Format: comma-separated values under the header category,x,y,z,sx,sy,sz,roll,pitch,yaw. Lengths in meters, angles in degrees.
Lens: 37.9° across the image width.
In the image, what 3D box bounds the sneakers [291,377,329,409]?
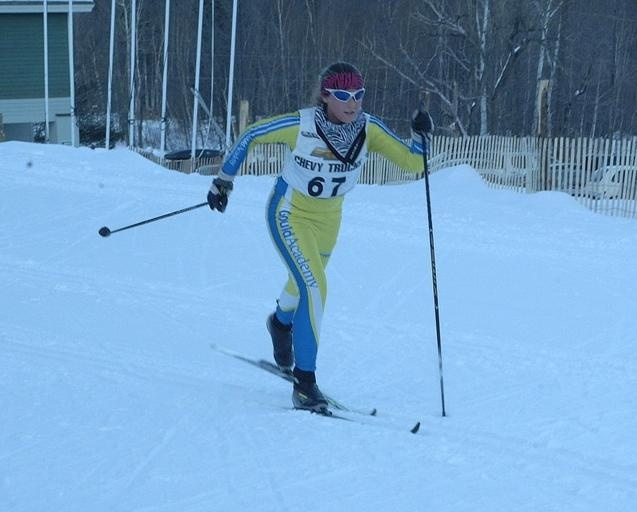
category,x,y,z,sx,sy,sz,roll,pitch,yaw
sneakers,-0.074,1.195,7.892,0.314,0.220,0.216,3,15,5

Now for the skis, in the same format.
category,x,y,z,sx,sy,sz,roll,pitch,yaw
skis,-0.069,1.186,8.171,1.372,0.178,0.202,24,0,27
